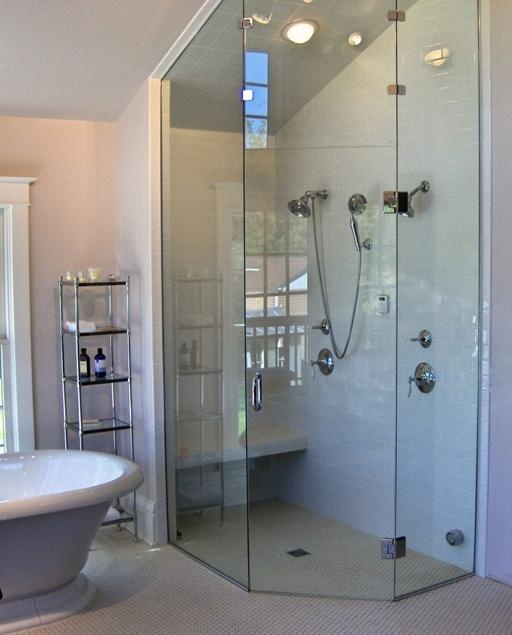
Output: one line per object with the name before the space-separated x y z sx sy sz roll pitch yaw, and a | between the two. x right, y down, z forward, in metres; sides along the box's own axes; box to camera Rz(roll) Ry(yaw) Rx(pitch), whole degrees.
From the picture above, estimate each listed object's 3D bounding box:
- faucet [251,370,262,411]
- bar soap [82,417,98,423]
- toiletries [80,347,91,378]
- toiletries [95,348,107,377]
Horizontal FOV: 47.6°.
faucet | 0.004 0.336 2.624 0.046 0.182 0.027 -2 -1 -2
bar soap | -1.103 0.678 3.824 0.073 0.018 0.075 0 3 -24
toiletries | -1.065 0.288 3.581 0.058 0.181 0.094 -1 -1 -17
toiletries | -0.980 0.287 3.628 0.055 0.179 0.115 -1 -1 -20
